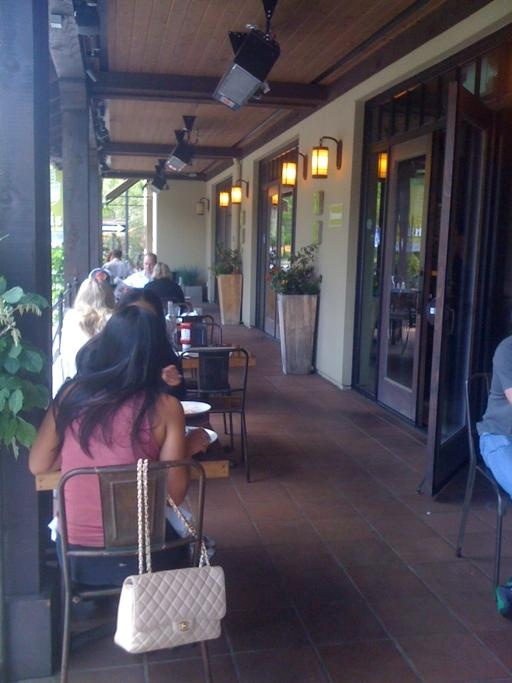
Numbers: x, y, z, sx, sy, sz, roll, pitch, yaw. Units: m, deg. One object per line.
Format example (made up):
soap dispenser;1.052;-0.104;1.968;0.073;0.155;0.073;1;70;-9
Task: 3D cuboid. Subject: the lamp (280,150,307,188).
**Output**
lamp;0.511;-2.339;7.486;0.318;0.451;0.913;1;10;2

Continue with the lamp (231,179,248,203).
lamp;-0.345;-2.939;10.867;0.241;0.475;0.841;-2;10;-11

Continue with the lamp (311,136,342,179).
lamp;0.759;-2.068;6.178;0.246;0.465;0.730;0;10;-4

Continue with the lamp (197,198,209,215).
lamp;-1.499;-3.775;15.431;0.345;0.452;0.915;-1;10;-8

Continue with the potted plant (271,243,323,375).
potted plant;0.545;-0.380;6.768;0.548;1.479;0.621;0;-4;-4

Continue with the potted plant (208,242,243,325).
potted plant;-0.517;-1.025;11.102;0.636;1.481;0.769;-12;-20;27

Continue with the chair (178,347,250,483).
chair;-0.310;0.408;3.756;0.445;0.916;0.506;-3;16;-14

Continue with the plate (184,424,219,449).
plate;-0.168;0.319;1.878;0.074;0.110;0.037;0;5;31
